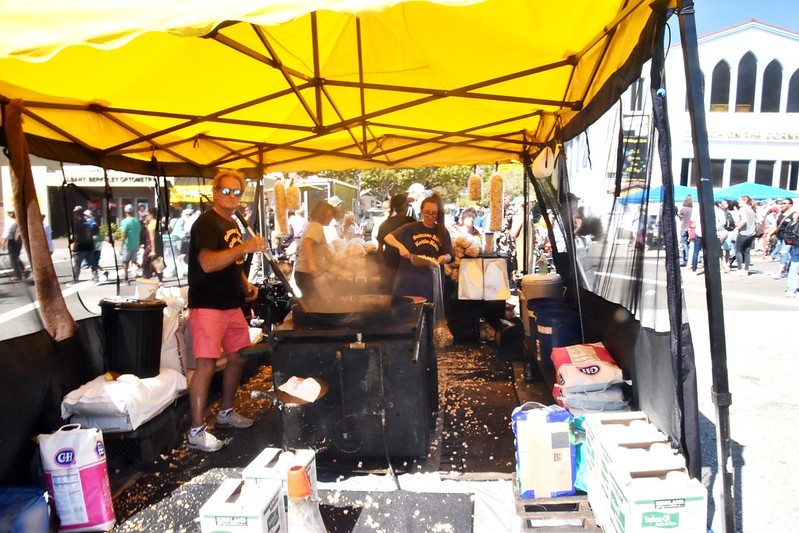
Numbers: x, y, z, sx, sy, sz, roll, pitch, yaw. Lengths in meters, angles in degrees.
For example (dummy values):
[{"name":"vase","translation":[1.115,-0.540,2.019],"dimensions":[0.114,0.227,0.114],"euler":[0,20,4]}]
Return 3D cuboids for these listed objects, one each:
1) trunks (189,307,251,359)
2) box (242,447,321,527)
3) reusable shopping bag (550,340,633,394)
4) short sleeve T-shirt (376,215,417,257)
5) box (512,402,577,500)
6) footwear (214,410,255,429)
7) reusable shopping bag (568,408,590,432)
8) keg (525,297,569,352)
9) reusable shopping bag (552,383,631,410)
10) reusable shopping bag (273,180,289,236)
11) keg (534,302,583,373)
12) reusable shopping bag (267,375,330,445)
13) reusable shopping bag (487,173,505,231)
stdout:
[{"name":"trunks","translation":[-1.625,0.599,5.137],"dimensions":[0.290,0.479,0.530],"euler":[0,-1,30]},{"name":"box","translation":[-0.828,1.434,4.035],"dimensions":[0.423,0.566,0.559],"euler":[-1,2,9]},{"name":"reusable shopping bag","translation":[1.618,0.859,4.923],"dimensions":[0.504,0.163,0.558],"euler":[-13,25,4]},{"name":"short sleeve T-shirt","translation":[-0.177,-0.380,7.906],"dimensions":[0.208,0.571,0.507],"euler":[-20,-5,-14]},{"name":"box","translation":[1.055,1.356,4.208],"dimensions":[0.449,0.647,0.349],"euler":[-3,-16,6]},{"name":"footwear","translation":[-1.581,1.459,5.504],"dimensions":[0.398,0.195,0.156],"euler":[1,7,-13]},{"name":"reusable shopping bag","translation":[1.334,1.140,4.197],"dimensions":[0.139,0.162,0.054],"euler":[2,-10,37]},{"name":"keg","translation":[1.524,0.615,6.187],"dimensions":[0.501,0.539,0.503],"euler":[-1,0,3]},{"name":"reusable shopping bag","translation":[1.613,1.093,4.718],"dimensions":[0.599,0.187,0.298],"euler":[-1,8,10]},{"name":"reusable shopping bag","translation":[-1.753,-0.882,8.352],"dimensions":[0.276,0.883,0.275],"euler":[-8,16,-29]},{"name":"keg","translation":[1.580,0.727,5.818],"dimensions":[0.542,0.568,0.567],"euler":[-1,2,7]},{"name":"reusable shopping bag","translation":[-0.895,1.255,4.689],"dimensions":[0.446,0.481,0.441],"euler":[-4,-6,-12]},{"name":"reusable shopping bag","translation":[1.365,-0.875,7.986],"dimensions":[0.323,0.907,0.326],"euler":[3,-20,4]}]
